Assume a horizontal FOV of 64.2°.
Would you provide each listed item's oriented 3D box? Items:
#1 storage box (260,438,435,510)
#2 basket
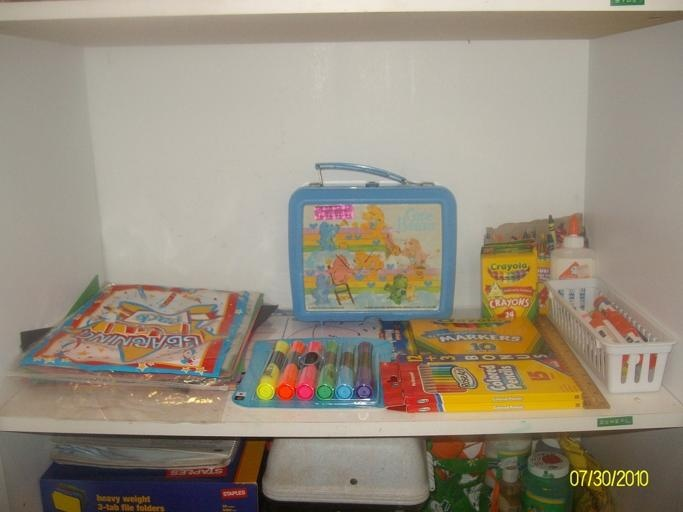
[{"bbox_3d":[0.026,0.415,1.058,0.345,0.112,0.175,-1,8,-6],"label":"storage box"},{"bbox_3d":[0.500,0.145,1.060,0.219,0.169,0.235,-1,11,0],"label":"basket"}]
